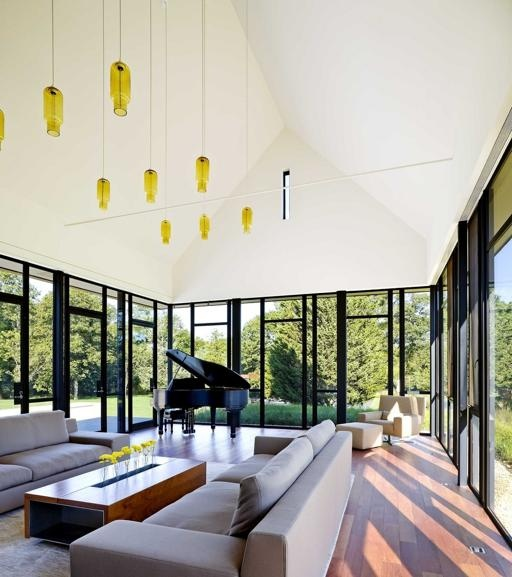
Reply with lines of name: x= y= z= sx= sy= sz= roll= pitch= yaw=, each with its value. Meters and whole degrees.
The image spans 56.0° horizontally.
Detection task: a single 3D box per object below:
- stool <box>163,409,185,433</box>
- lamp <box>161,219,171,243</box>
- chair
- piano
stool: x=-1.523 y=2.416 z=8.908 sx=0.308 sy=0.615 sz=0.379 roll=-10 pitch=-16 yaw=32
lamp: x=-1.135 y=-0.727 z=6.027 sx=0.095 sy=0.412 sz=0.496 roll=0 pitch=-9 yaw=-12
chair: x=2.168 y=1.981 z=7.665 sx=0.651 sy=1.078 sz=0.845 roll=15 pitch=-18 yaw=-38
piano: x=-0.958 y=1.708 z=8.171 sx=1.472 sy=1.896 sz=1.293 roll=4 pitch=-13 yaw=-16
